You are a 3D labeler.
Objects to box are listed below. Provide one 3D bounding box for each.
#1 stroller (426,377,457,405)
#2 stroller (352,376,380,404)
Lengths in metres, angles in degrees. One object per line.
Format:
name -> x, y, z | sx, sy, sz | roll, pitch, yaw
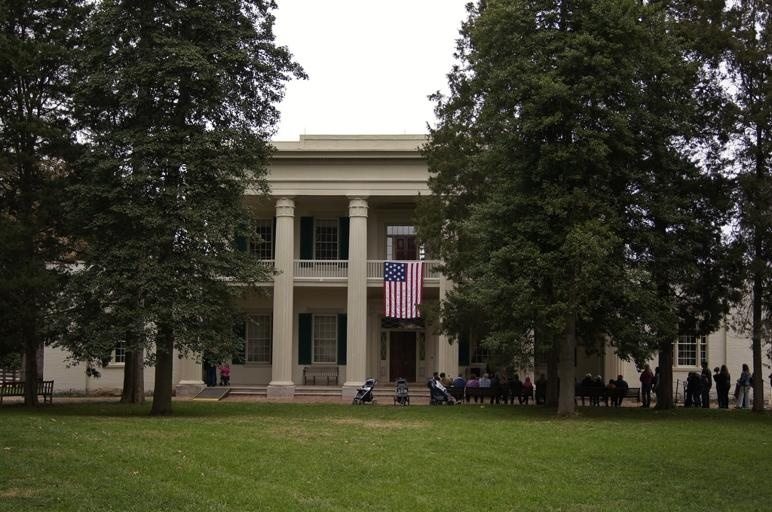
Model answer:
stroller -> 2.442, 5.961, 44.323 | 1.170, 1.309, 1.214 | -2, -4, 3
stroller -> -1.070, 6.065, 44.595 | 1.361, 1.495, 1.044 | 13, -15, -43
